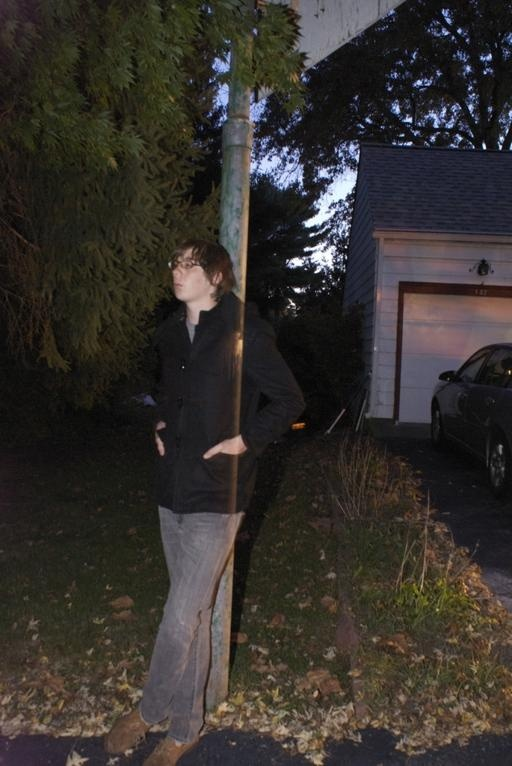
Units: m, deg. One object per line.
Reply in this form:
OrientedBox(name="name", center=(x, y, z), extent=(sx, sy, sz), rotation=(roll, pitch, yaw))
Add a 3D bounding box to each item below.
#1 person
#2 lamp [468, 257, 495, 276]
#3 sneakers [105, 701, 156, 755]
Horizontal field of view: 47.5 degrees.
OrientedBox(name="person", center=(-0.142, 0.437, 2.143), extent=(0.618, 1.887, 0.438), rotation=(-1, 9, 4))
OrientedBox(name="lamp", center=(3.820, -1.960, 9.921), extent=(0.353, 0.383, 0.245), rotation=(-7, 25, -1))
OrientedBox(name="sneakers", center=(-0.529, 1.447, 2.434), extent=(0.158, 0.063, 0.245), rotation=(6, 27, 18))
